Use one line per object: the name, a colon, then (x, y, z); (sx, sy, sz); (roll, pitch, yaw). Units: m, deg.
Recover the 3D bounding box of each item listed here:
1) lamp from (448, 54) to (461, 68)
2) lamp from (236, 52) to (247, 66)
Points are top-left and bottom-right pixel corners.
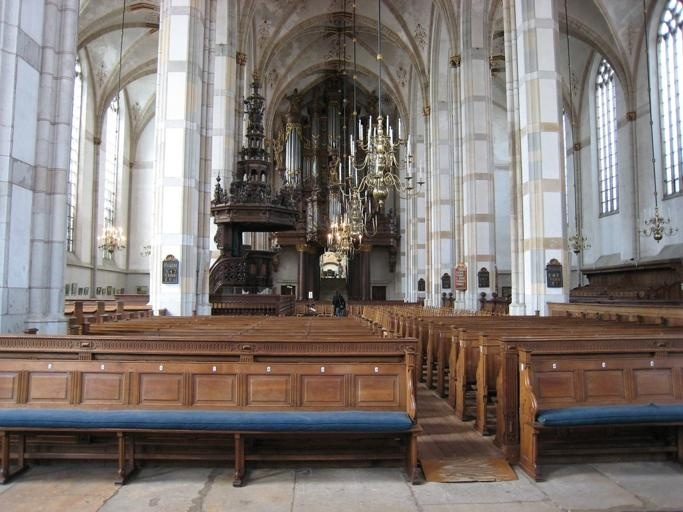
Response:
lamp: (4.092, -6.932, 22.695); (0.181, 0.492, 0.497); (-6, 13, -27)
lamp: (-3.598, -7.115, 23.091); (0.405, 0.304, 0.419); (-1, -6, -2)
